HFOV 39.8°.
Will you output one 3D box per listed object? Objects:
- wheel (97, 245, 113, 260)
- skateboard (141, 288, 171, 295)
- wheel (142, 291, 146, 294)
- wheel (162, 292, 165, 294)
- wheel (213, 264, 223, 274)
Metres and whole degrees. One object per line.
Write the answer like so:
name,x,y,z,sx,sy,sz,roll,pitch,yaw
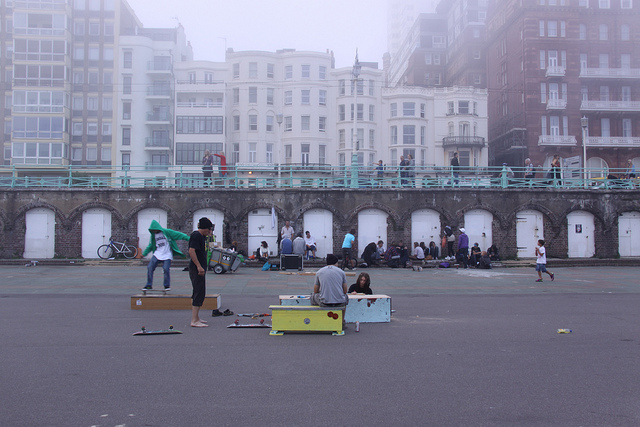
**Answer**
wheel,-17.480,3.238,72.370,1.183,1.119,0.153,-4,-4,-16
skateboard,-10.084,4.867,54.738,1.872,0.292,0.437,1,0,-8
wheel,-10.891,4.935,54.848,0.226,0.143,0.211,-1,-11,0
wheel,-9.748,5.020,55.391,0.154,0.143,0.132,-1,-12,1
wheel,-7.381,4.056,64.555,0.746,0.705,0.286,4,0,1
